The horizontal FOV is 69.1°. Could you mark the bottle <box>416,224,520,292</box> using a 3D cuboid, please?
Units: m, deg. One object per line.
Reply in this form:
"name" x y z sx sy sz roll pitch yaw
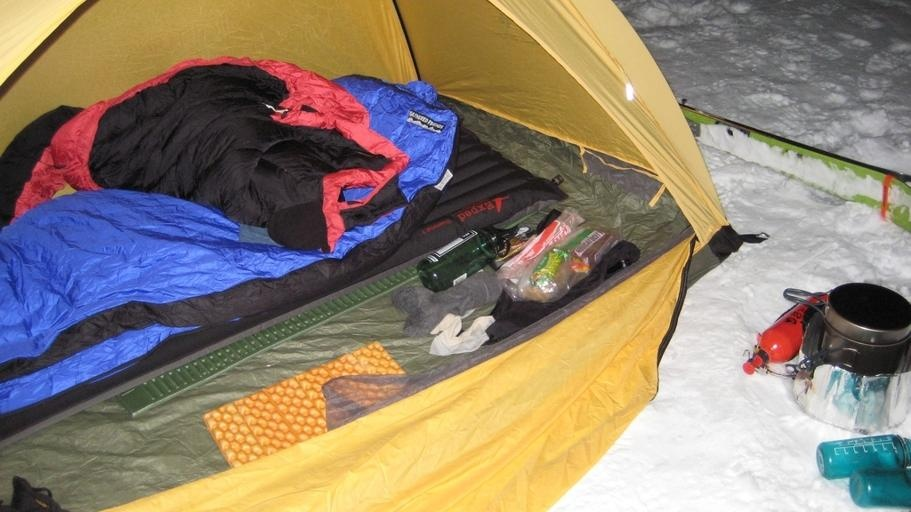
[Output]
"bottle" 0.051 0.023 3.224 0.622 0.159 0.158 -19 83 -32
